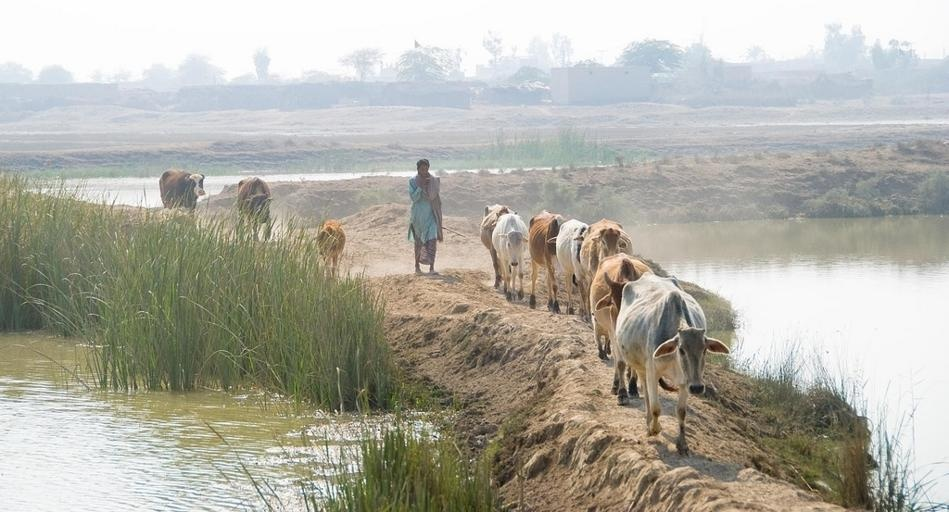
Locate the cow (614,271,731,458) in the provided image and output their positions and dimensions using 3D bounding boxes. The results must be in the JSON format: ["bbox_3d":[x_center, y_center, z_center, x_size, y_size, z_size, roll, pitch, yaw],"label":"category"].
[{"bbox_3d":[6.708,2.642,35.560,2.579,3.913,6.768,-1,8,-5],"label":"cow"}]

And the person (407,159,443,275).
[{"bbox_3d":[-1.898,-1.573,43.636,1.510,4.072,1.068,2,1,15],"label":"person"}]

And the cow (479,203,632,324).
[{"bbox_3d":[3.425,-0.211,40.854,2.112,2.836,5.657,-2,4,-21],"label":"cow"}]
